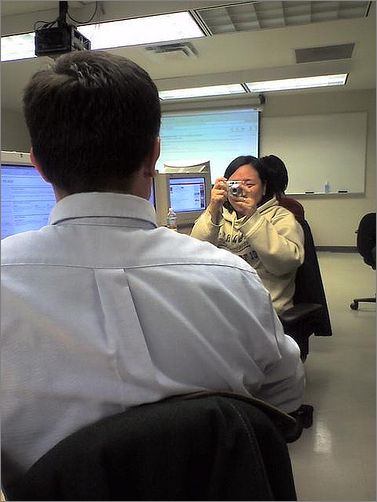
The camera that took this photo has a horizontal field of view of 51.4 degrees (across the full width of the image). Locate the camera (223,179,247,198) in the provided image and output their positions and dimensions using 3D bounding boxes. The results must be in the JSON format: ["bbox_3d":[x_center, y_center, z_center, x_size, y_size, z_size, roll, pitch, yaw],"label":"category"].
[{"bbox_3d":[0.227,-0.308,1.981,0.111,0.111,0.081,-1,-8,8],"label":"camera"}]

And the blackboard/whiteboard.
[{"bbox_3d":[2.025,-1.494,5.901,1.973,1.593,0.095,1,1,15],"label":"blackboard/whiteboard"}]
